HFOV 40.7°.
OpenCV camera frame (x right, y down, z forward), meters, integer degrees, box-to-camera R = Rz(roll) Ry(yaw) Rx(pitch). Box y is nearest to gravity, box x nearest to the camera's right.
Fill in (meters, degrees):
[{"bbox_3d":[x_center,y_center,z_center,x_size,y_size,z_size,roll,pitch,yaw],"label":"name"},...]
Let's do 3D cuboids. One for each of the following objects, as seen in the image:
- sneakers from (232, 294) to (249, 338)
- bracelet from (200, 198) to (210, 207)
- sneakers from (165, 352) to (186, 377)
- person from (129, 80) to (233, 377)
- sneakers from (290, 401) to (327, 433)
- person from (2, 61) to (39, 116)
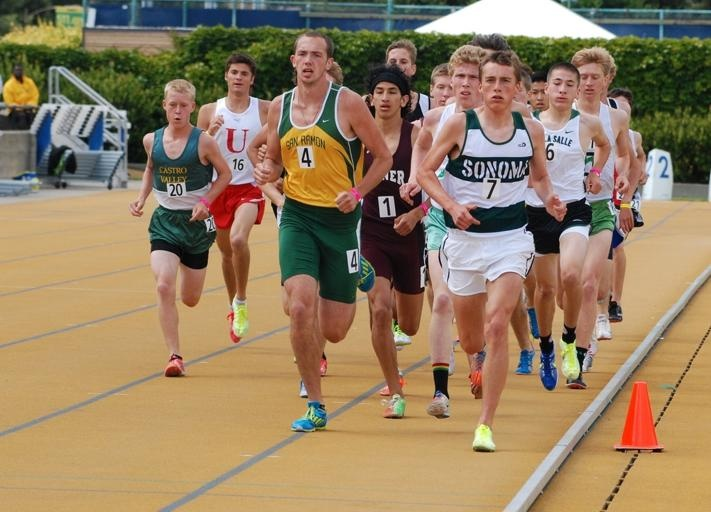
[{"bbox_3d":[-1.102,0.572,9.321,0.128,0.410,0.161,-4,-9,-24],"label":"sneakers"},{"bbox_3d":[-1.320,-0.475,8.429,0.020,0.069,0.069,-40,7,-6],"label":"bracelet"},{"bbox_3d":[-1.528,0.925,8.109,0.163,0.178,0.142,1,8,-10],"label":"sneakers"},{"bbox_3d":[-1.544,-0.308,8.536,0.780,2.499,1.090,-1,8,-25],"label":"person"},{"bbox_3d":[-0.296,1.163,6.925,0.288,0.221,0.148,-1,-6,24],"label":"sneakers"},{"bbox_3d":[-8.648,-4.284,24.668,0.821,1.281,1.127,-1,9,-21],"label":"person"}]
